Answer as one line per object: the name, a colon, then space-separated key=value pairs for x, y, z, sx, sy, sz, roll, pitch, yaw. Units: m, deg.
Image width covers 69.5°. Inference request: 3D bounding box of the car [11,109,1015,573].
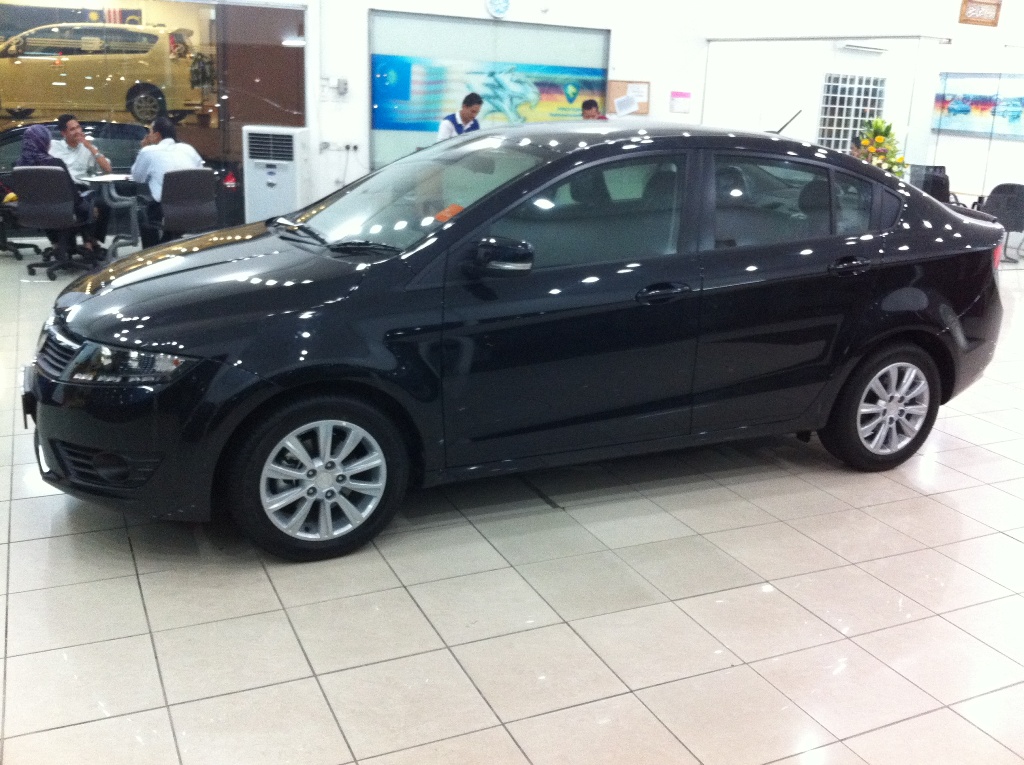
car: x=0.330 y=-0.317 z=3.742 sx=4.608 sy=1.155 sz=1.991 roll=-2 pitch=12 yaw=-17
